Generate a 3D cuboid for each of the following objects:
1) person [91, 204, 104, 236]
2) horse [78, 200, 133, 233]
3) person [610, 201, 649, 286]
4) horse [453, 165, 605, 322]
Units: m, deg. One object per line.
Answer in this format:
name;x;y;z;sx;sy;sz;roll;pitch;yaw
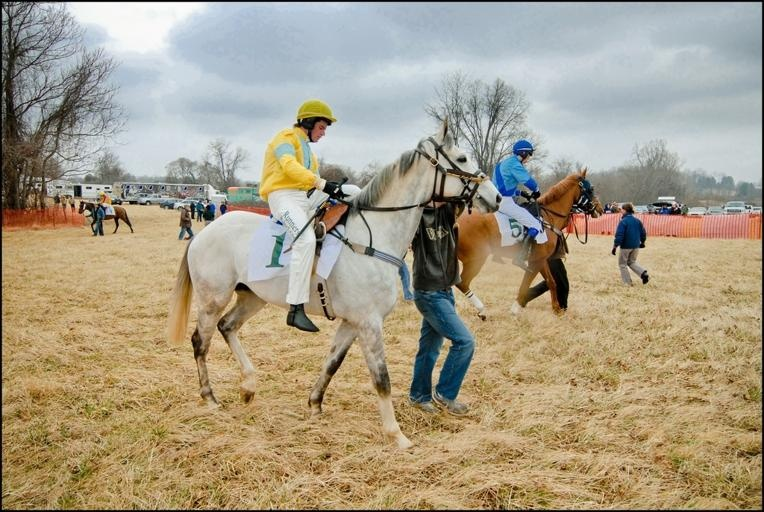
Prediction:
person;-12.280;-1.588;24.186;0.485;1.335;1.653;-3;6;-26
horse;-12.905;-1.795;26.131;0.560;1.487;2.450;-4;0;37
person;6.129;-0.332;13.740;0.838;1.966;1.419;2;6;26
horse;2.615;-0.208;11.360;3.835;2.868;0.959;-4;5;-9
